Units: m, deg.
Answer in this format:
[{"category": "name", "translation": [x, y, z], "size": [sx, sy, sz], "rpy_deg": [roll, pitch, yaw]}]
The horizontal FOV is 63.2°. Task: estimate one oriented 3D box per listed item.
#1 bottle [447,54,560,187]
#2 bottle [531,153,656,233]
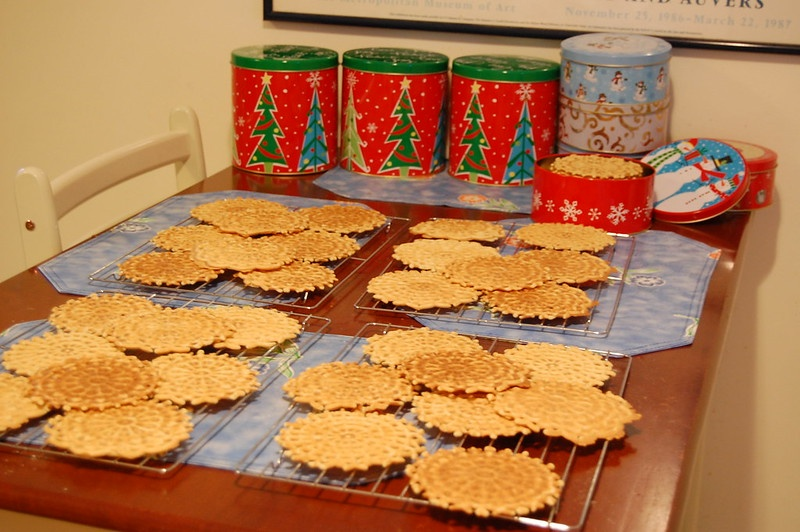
[{"category": "bottle", "translation": [0.182, -0.391, 1.717], "size": [0.450, 0.314, 0.337], "rpy_deg": [0, 29, -1]}, {"category": "bottle", "translation": [0.416, -0.155, 1.405], "size": [0.219, 0.077, 0.208], "rpy_deg": [0, 25, 0]}]
